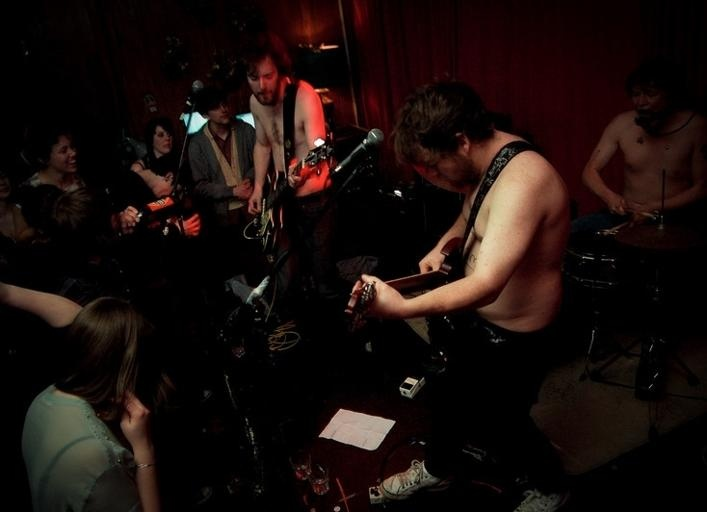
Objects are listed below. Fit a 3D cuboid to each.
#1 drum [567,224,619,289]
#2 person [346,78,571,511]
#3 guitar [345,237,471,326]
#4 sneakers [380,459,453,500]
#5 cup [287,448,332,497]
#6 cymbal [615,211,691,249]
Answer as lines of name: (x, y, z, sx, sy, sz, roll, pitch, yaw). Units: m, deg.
drum: (1.501, -0.008, 3.529, 0.313, 0.224, 0.454, 5, 32, 14)
person: (0.649, 0.239, 2.796, 0.847, 2.038, 0.949, -2, 32, 4)
guitar: (0.328, 0.108, 2.918, 0.081, 0.243, 0.838, 14, -23, -35)
sneakers: (0.287, 1.186, 3.054, 0.467, 0.179, 0.158, -4, 50, -8)
cup: (-0.243, 1.223, 3.172, 0.123, 0.105, 0.272, -24, 2, -24)
cymbal: (1.788, -0.129, 3.302, 0.447, 0.051, 0.347, 3, 31, 11)
